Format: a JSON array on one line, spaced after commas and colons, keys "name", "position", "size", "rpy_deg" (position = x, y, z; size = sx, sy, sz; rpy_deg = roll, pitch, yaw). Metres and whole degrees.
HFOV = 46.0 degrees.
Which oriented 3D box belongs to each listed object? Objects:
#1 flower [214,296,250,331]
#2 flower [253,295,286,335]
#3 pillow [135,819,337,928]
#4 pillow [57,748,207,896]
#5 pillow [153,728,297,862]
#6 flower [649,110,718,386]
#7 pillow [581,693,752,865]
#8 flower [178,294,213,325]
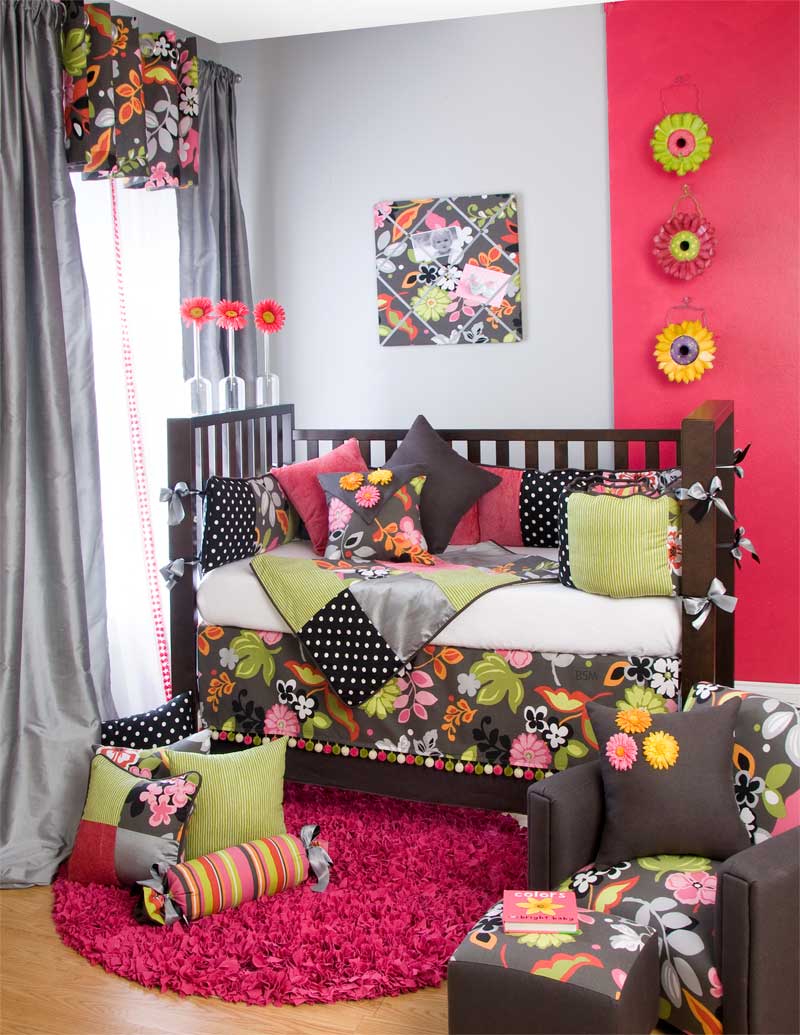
[{"name": "flower", "position": [-0.550, -0.665, 3.134], "size": [0.137, 0.050, 0.133], "rpy_deg": [3, 34, 6]}, {"name": "flower", "position": [-0.445, -0.685, 3.225], "size": [0.148, 0.140, 0.051], "rpy_deg": [3, -2, -34]}, {"name": "pillow", "position": [-0.336, 0.769, 2.085], "size": [0.448, 0.141, 0.153], "rpy_deg": [-5, 12, -35]}, {"name": "pillow", "position": [-0.591, 0.674, 2.109], "size": [0.285, 0.228, 0.107], "rpy_deg": [6, 2, 18]}, {"name": "pillow", "position": [-0.388, 0.638, 2.154], "size": [0.260, 0.251, 0.113], "rpy_deg": [-1, 11, -18]}, {"name": "flower", "position": [0.941, -0.881, 3.128], "size": [0.209, 0.882, 0.079], "rpy_deg": [0, 6, 14]}, {"name": "pillow", "position": [0.490, 0.485, 1.713], "size": [0.283, 0.291, 0.113], "rpy_deg": [-3, -30, 9]}, {"name": "flower", "position": [-0.658, -0.665, 3.029], "size": [0.135, 0.133, 0.046], "rpy_deg": [1, 28, -11]}]
